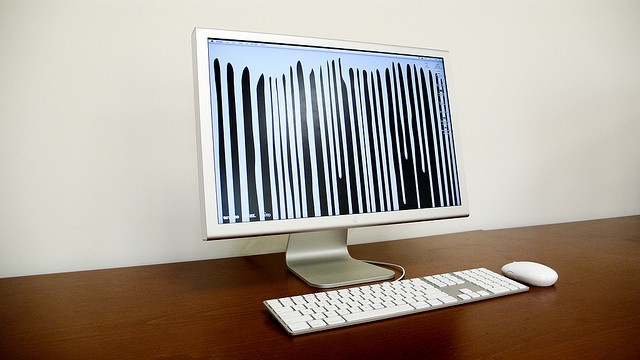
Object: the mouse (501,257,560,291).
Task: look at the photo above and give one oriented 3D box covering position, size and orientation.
[{"bbox_3d":[0.692,0.301,1.423,0.094,0.036,0.121,1,10,-27],"label":"mouse"}]
